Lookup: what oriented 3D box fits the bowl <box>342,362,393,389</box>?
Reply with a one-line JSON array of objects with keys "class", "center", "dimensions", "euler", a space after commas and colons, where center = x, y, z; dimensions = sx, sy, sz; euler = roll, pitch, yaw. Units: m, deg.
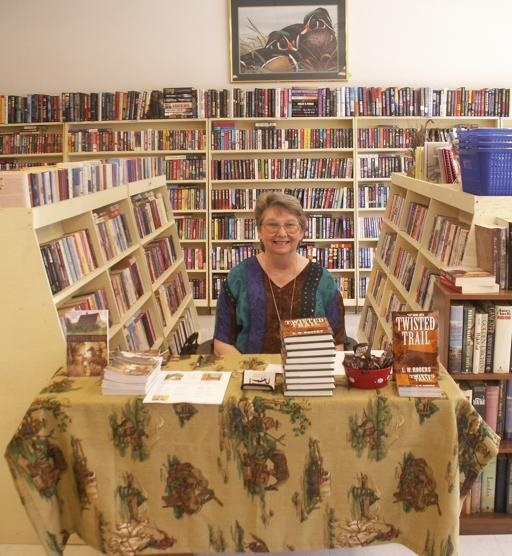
[{"class": "bowl", "center": [0.368, 0.306, 1.527], "dimensions": [0.170, 0.071, 0.083], "euler": [-5, 11, -18]}]

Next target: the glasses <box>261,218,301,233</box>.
[{"class": "glasses", "center": [0.109, -0.220, 2.129], "dimensions": [0.150, 0.051, 0.052], "euler": [-1, 11, 1]}]
